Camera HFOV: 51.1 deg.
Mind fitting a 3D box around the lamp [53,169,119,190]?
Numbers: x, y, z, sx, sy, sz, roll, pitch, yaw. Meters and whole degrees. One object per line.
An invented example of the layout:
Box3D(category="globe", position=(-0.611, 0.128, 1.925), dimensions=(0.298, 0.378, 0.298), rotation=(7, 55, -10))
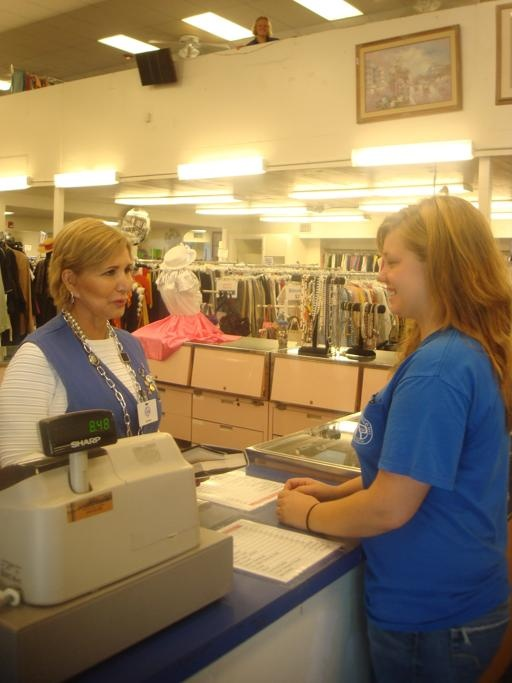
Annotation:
Box3D(category="lamp", position=(-1.829, -1.773, 5.759), dimensions=(1.060, 0.131, 0.213), rotation=(8, 3, 36))

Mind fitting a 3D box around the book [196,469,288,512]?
Box3D(category="book", position=(-0.048, 0.483, 1.733), dimensions=(0.181, 0.009, 0.203), rotation=(2, 6, 32))

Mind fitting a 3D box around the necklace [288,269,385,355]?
Box3D(category="necklace", position=(0.759, -0.256, 5.144), dimensions=(1.005, 0.877, 0.580), rotation=(2, 5, 30))

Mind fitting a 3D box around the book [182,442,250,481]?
Box3D(category="book", position=(-0.153, 0.462, 2.098), dimensions=(0.186, 0.066, 0.188), rotation=(5, 4, -34))

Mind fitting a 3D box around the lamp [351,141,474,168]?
Box3D(category="lamp", position=(1.129, -1.351, 3.889), dimensions=(0.889, 0.165, 0.231), rotation=(8, 3, 36))

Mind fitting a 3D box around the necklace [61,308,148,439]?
Box3D(category="necklace", position=(-0.508, 0.110, 1.689), dimensions=(0.049, 0.408, 0.258), rotation=(-23, -13, 28))

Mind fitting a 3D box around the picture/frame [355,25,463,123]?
Box3D(category="picture/frame", position=(1.121, -1.926, 3.810), dimensions=(0.887, 0.587, 0.031), rotation=(4, 11, 36))

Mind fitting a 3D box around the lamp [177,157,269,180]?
Box3D(category="lamp", position=(-0.272, -1.567, 4.836), dimensions=(0.906, 0.167, 0.279), rotation=(7, 3, 29))

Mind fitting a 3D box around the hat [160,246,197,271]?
Box3D(category="hat", position=(-0.769, -0.805, 5.592), dimensions=(0.342, 0.311, 0.089), rotation=(-30, -35, -1))
